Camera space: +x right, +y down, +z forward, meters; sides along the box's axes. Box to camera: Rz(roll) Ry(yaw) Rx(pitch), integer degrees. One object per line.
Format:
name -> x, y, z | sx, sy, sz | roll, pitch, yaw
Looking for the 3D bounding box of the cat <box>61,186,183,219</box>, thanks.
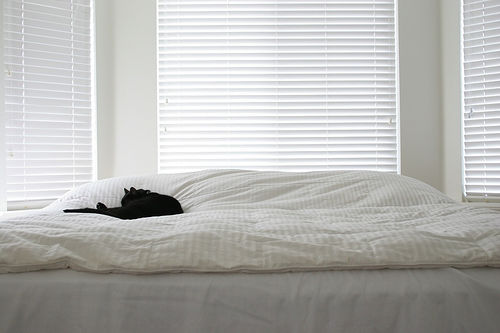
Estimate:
cat -> -0.734, 0.237, 2.486 | 0.518, 0.577, 0.129 | 7, -81, 33
